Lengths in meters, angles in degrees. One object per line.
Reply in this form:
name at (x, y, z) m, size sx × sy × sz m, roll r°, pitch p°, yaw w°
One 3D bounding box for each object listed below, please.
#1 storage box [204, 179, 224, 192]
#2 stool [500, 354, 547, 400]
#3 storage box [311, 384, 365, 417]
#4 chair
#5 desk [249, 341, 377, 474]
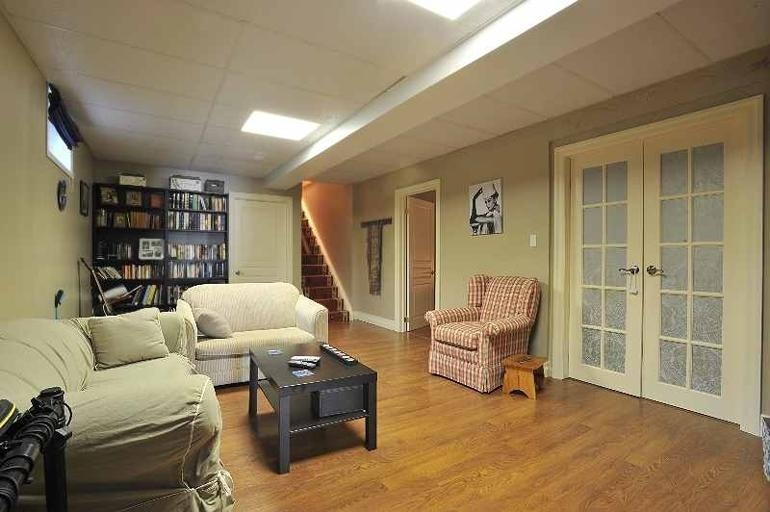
storage box at (-2.507, -1.036, 7.216) m, size 0.291 × 0.221 × 0.187 m, roll 2°, pitch 3°, yaw -2°
stool at (1.377, 1.170, 4.861) m, size 0.348 × 0.304 × 0.402 m, roll -2°, pitch -1°, yaw 33°
storage box at (-0.361, 1.141, 3.831) m, size 0.425 × 0.230 × 0.271 m, roll 0°, pitch -5°, yaw -21°
chair at (0.992, 0.824, 5.525) m, size 1.114 × 1.287 × 1.265 m, roll 6°, pitch -6°, yaw -40°
desk at (-0.570, 1.086, 3.990) m, size 0.761 × 0.594 × 1.142 m, roll 4°, pitch -4°, yaw -26°
